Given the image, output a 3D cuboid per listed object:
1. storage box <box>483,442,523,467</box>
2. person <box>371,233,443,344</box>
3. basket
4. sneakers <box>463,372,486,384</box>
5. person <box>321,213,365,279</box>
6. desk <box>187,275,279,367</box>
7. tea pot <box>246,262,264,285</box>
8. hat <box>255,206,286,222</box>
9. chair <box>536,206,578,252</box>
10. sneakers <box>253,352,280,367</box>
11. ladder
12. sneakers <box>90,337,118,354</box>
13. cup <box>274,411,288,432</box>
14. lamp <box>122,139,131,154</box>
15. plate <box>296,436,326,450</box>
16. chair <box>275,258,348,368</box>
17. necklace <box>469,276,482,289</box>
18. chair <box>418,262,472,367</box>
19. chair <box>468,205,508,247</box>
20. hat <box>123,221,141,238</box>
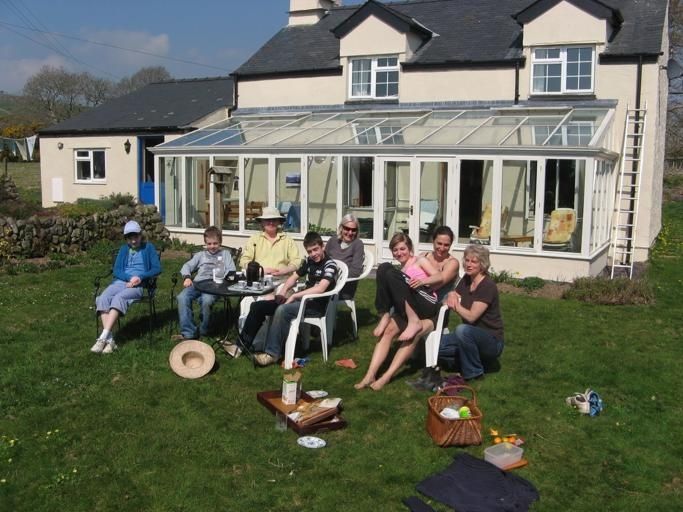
[{"bbox_3d":[1.896,2.263,7.427,0.552,0.179,0.292,-3,9,-29],"label":"storage box"},{"bbox_3d":[0.901,0.394,9.033,0.943,1.611,0.721,13,-23,-39],"label":"person"},{"bbox_3d":[1.399,1.865,7.978,0.546,0.680,0.868,-2,9,-5],"label":"basket"},{"bbox_3d":[1.822,1.668,8.982,0.342,0.167,0.124,1,6,-16],"label":"sneakers"},{"bbox_3d":[0.015,-0.068,10.687,0.636,1.176,0.667,6,12,-6],"label":"person"},{"bbox_3d":[-1.517,0.884,9.517,1.081,0.855,1.130,-18,31,-36],"label":"desk"},{"bbox_3d":[-1.244,0.253,9.398,0.260,0.334,0.225,-1,7,-17],"label":"tea pot"},{"bbox_3d":[-1.340,-0.814,12.515,0.520,0.220,0.619,-1,-12,-3],"label":"hat"},{"bbox_3d":[4.706,-0.574,13.877,0.643,0.933,0.340,8,6,20],"label":"chair"},{"bbox_3d":[-1.079,1.485,9.423,0.368,0.164,0.212,0,8,-11],"label":"sneakers"},{"bbox_3d":[7.077,-1.644,16.019,0.631,3.909,1.105,4,7,25],"label":"ladder"},{"bbox_3d":[-3.483,1.311,9.622,0.181,0.149,0.325,1,-1,-3],"label":"sneakers"},{"bbox_3d":[-0.745,2.016,7.970,0.141,0.279,0.261,1,4,-14],"label":"cup"},{"bbox_3d":[-7.510,-3.820,22.758,0.158,0.482,0.377,-5,10,-43],"label":"lamp"},{"bbox_3d":[-0.340,2.183,7.653,0.346,0.069,0.196,1,8,-4],"label":"plate"},{"bbox_3d":[-0.390,0.910,9.769,0.962,1.368,0.977,-1,1,-16],"label":"chair"},{"bbox_3d":[1.853,0.371,8.921,0.118,0.178,0.174,1,4,1],"label":"necklace"},{"bbox_3d":[1.324,0.920,9.587,0.952,1.406,0.958,-3,3,-26],"label":"chair"},{"bbox_3d":[3.272,-0.675,14.302,0.789,1.157,0.762,-7,8,-36],"label":"chair"},{"bbox_3d":[-3.299,-0.424,10.295,0.210,0.194,0.316,-7,-1,-10],"label":"hat"}]
